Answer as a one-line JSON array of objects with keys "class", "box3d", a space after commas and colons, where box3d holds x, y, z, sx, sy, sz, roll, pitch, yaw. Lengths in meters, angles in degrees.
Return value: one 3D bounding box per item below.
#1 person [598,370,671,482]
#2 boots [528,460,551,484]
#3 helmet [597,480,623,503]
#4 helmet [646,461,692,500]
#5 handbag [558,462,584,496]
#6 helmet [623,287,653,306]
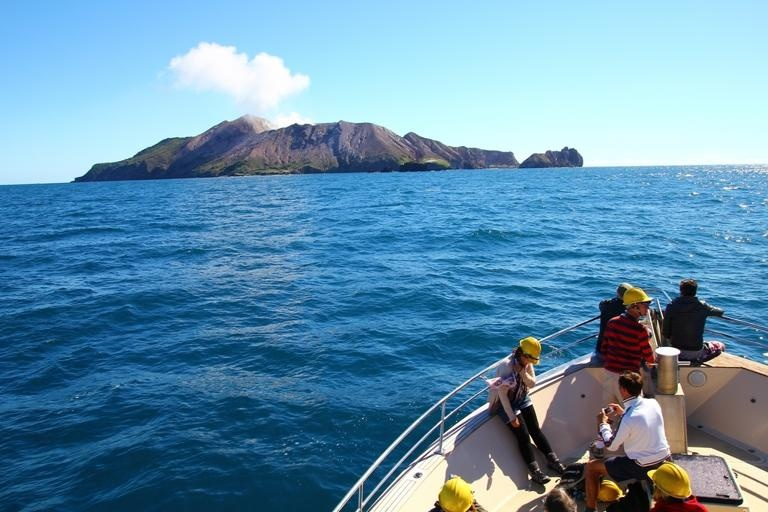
[{"class": "person", "box3d": [4.853, 3.297, 9.547, 1.066, 2.009, 0.643, 4, 17, 23]}, {"class": "boots", "box3d": [3.248, 4.557, 10.525, 0.439, 0.455, 0.315, 7, 17, 31]}, {"class": "helmet", "box3d": [4.344, 4.589, 9.758, 0.564, 0.235, 0.370, -3, 4, -26]}, {"class": "helmet", "box3d": [4.887, 3.816, 8.671, 0.591, 0.318, 0.662, 4, 7, 1]}, {"class": "handbag", "box3d": [3.780, 4.523, 10.083, 0.512, 0.479, 0.355, 30, 52, 9]}, {"class": "helmet", "box3d": [5.614, 0.897, 11.013, 0.601, 0.266, 0.426, -6, 7, 13]}]
